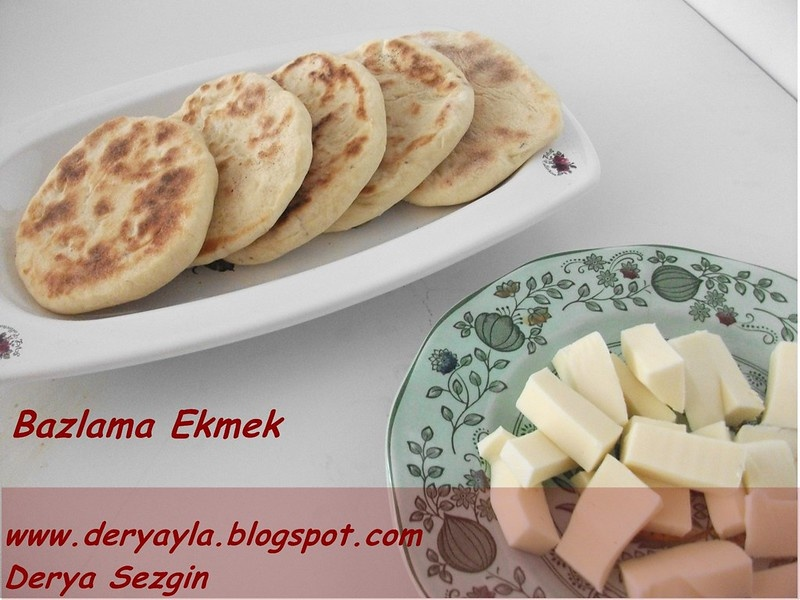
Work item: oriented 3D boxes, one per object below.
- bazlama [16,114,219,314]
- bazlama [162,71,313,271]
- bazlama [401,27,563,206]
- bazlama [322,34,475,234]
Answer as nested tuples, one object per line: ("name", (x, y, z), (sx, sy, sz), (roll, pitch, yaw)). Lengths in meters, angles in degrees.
("bazlama", (-0.531, -0.153, 1.530), (0.409, 0.373, 0.265), (-11, 23, -18))
("bazlama", (-0.281, -0.250, 1.545), (0.312, 0.354, 0.052), (-2, -23, 28))
("bazlama", (0.178, -0.356, 1.633), (0.341, 0.359, 0.037), (11, -30, 11))
("bazlama", (0.016, -0.371, 1.583), (0.307, 0.382, 0.051), (1, -30, 28))
